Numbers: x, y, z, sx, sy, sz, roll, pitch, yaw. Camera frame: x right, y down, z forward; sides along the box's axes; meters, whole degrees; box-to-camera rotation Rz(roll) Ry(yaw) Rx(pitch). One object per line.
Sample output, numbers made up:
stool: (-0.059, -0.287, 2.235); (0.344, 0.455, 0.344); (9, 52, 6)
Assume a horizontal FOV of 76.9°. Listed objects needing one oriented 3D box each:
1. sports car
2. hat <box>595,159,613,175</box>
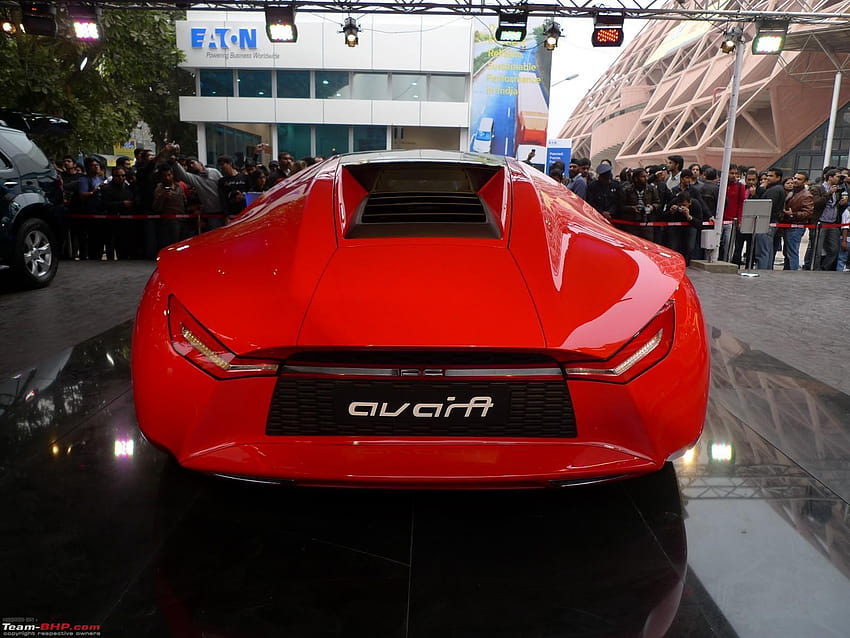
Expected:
sports car: (-0.004, -0.349, 3.334); (2.202, 1.124, 3.593); (0, 15, -1)
hat: (3.372, -2.864, 10.184); (0.271, 0.360, 0.373); (8, -6, 13)
